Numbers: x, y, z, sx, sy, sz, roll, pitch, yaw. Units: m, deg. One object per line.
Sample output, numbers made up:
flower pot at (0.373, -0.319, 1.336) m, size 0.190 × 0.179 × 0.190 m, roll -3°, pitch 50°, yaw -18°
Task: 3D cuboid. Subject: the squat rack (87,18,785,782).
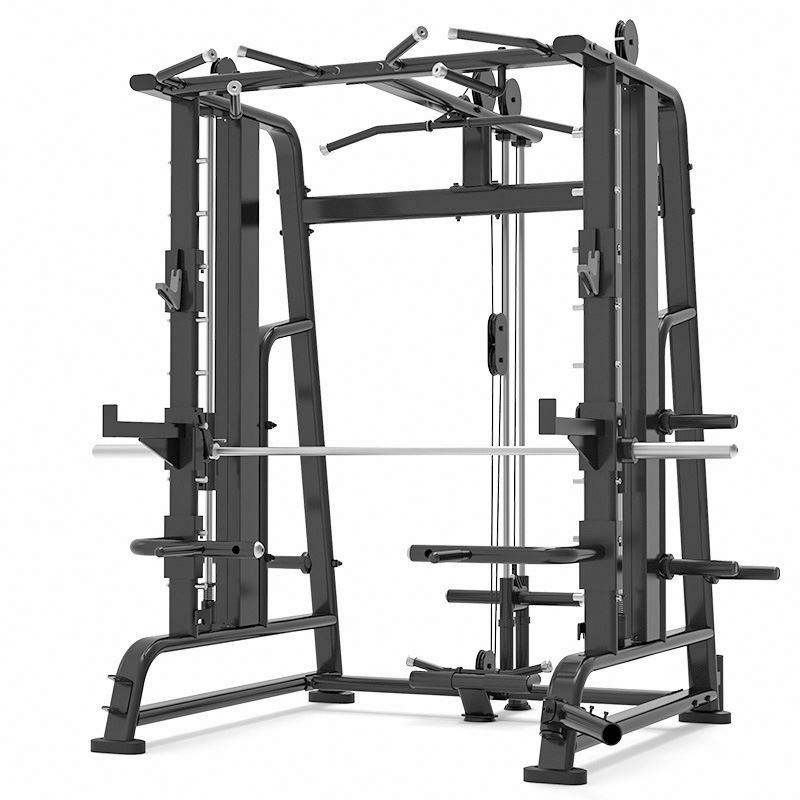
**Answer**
squat rack at (0.086, 0.001, 3.998) m, size 2.517 × 1.587 × 2.287 m, roll -2°, pitch -89°, yaw 34°
